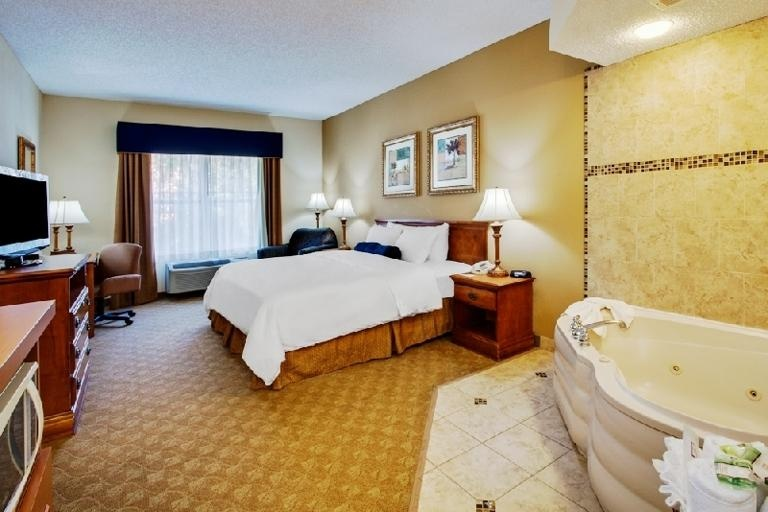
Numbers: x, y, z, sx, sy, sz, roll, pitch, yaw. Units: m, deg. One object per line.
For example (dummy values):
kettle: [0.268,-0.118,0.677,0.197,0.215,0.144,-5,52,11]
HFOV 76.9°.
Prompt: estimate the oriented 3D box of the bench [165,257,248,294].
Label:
bench: [-2.798,0.280,7.639,1.183,0.504,0.347,-6,24,-37]

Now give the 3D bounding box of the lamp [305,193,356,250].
lamp: [-0.862,-0.569,8.051,0.323,0.763,0.890,-9,13,-44]

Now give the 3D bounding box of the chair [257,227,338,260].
chair: [-1.350,-0.214,7.836,0.858,0.857,0.624,0,6,-36]

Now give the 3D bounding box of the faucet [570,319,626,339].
faucet: [1.763,0.591,4.055,0.353,0.122,0.233,1,-1,-9]

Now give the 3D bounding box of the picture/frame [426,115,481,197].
picture/frame: [0.885,-1.241,5.970,0.089,1.129,1.089,0,0,-37]

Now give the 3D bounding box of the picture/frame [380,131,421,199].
picture/frame: [0.258,-1.284,6.780,0.100,1.039,1.005,0,1,-34]

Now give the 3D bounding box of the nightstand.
nightstand: [1.207,0.632,5.405,0.633,0.763,0.778,-9,10,-38]

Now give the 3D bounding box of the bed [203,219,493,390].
bed: [-0.260,0.171,5.305,2.214,1.051,2.056,-7,10,-36]
